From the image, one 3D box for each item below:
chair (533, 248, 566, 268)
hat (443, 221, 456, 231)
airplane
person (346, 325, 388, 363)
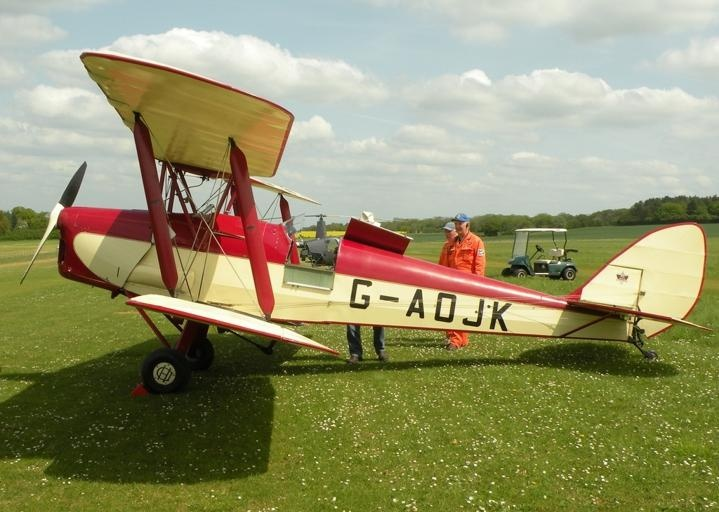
[{"bbox_3d":[7.689,0.092,21.985,1.306,0.685,0.791,0,-1,-6],"label":"chair"},{"bbox_3d":[1.803,-0.576,10.888,0.157,0.089,0.208,-9,-15,37],"label":"hat"},{"bbox_3d":[-0.099,0.200,8.785,6.865,2.082,7.098,7,-2,-5],"label":"airplane"},{"bbox_3d":[0.133,1.576,9.705,0.834,0.736,0.273,-1,-17,-17],"label":"person"}]
